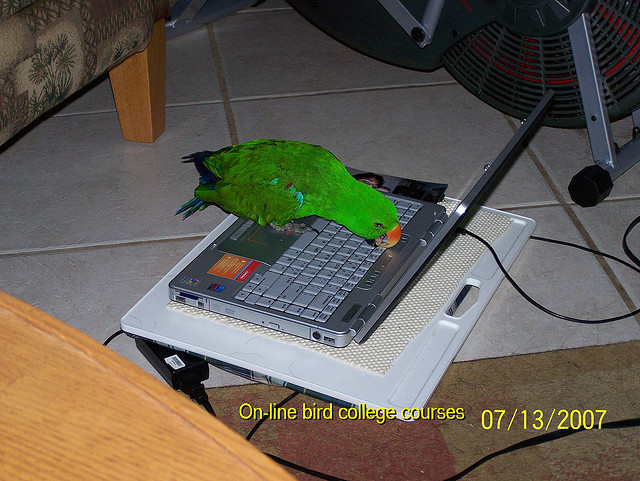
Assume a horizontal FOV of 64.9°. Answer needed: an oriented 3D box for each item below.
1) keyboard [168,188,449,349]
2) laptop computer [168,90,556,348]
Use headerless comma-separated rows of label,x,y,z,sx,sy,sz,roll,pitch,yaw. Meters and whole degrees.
keyboard,-0.006,0.028,1.168,0.449,0.065,0.570,14,30,14
laptop computer,-0.005,0.011,1.093,0.405,0.084,0.502,26,56,17
